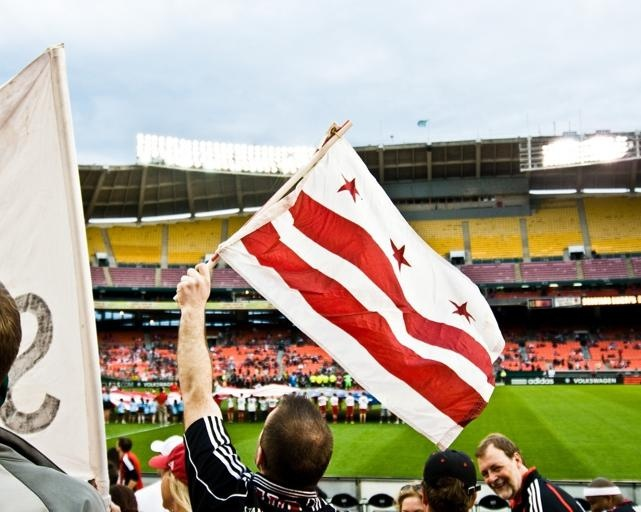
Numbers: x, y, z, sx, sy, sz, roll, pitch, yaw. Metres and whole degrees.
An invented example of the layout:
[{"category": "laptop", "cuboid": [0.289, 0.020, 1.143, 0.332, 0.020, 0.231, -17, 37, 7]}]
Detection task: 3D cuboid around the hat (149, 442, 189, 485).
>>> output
[{"category": "hat", "cuboid": [-3.249, 4.469, 23.398, 1.024, 0.557, 0.672, 22, 2, 23]}]
